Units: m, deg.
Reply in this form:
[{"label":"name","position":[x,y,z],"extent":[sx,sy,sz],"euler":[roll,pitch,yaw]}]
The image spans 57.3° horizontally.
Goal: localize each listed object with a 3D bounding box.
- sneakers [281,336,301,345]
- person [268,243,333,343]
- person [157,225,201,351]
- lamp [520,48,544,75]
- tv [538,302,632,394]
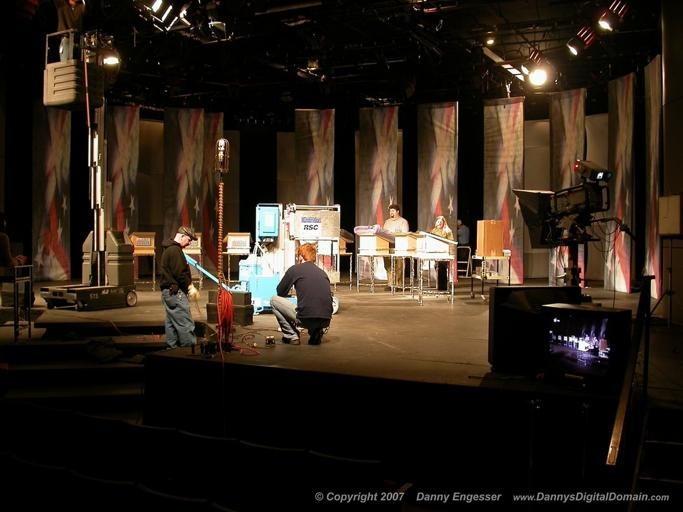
[{"label":"sneakers","position":[-0.624,1.057,7.765],"extent":[0.228,0.112,0.080],"euler":[1,2,38]},{"label":"person","position":[-0.466,0.488,7.833],"extent":[0.626,1.178,0.721],"euler":[-10,14,-43]},{"label":"person","position":[-2.020,0.425,7.760],"extent":[0.422,1.416,0.741],"euler":[-3,10,-16]},{"label":"lamp","position":[3.988,-4.076,13.118],"extent":[0.405,0.558,0.386],"euler":[7,13,37]},{"label":"tv","position":[2.323,0.704,6.014],"extent":[0.845,0.972,0.667],"euler":[2,1,39]}]
